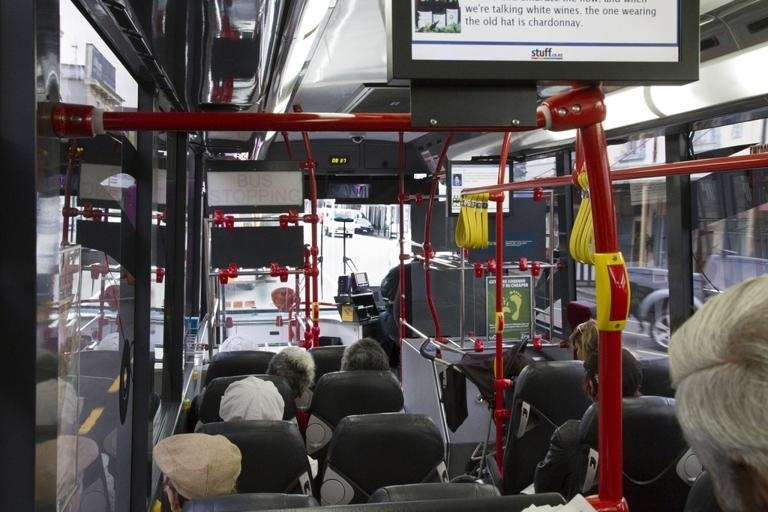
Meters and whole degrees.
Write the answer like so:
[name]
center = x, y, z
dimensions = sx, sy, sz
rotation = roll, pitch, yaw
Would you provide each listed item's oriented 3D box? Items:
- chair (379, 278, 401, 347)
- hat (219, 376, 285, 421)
[chair]
center = 0.079, 0.694, 8.696
dimensions = 0.250, 1.051, 0.518
rotation = 1, -1, -2
[hat]
center = -0.706, 0.747, 3.383
dimensions = 0.279, 0.287, 0.119
rotation = 7, -40, -26
